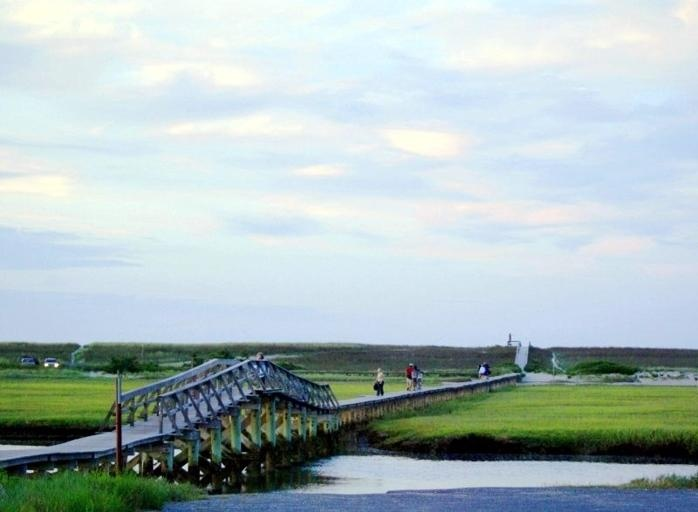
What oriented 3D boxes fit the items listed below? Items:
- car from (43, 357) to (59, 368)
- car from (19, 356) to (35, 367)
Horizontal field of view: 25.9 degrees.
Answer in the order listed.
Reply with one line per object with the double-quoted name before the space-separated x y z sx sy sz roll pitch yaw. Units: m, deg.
"car" -37.138 13.136 189.424 1.236 1.338 3.029 -6 1 -40
"car" -39.985 12.929 188.772 1.753 1.191 3.484 3 -5 -16
